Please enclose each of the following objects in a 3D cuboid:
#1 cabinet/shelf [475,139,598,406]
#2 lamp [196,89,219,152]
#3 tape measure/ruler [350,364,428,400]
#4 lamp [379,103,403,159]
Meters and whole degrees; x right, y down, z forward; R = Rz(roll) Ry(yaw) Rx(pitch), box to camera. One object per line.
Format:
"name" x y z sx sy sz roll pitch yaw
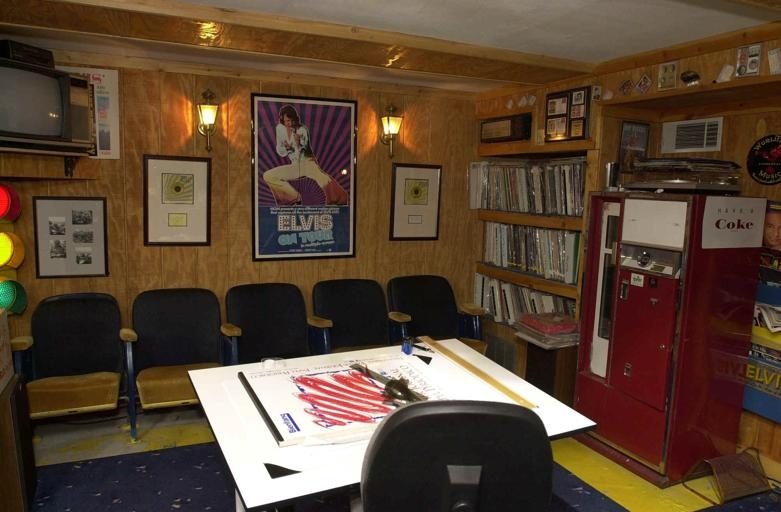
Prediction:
"cabinet/shelf" 1.503 0.068 5.276 0.631 2.225 1.621 0 7 -22
"lamp" -1.732 -1.308 4.854 0.214 0.590 0.142 -5 8 -20
"tape measure/ruler" -0.049 0.840 3.400 0.162 0.124 0.526 -11 11 -42
"lamp" 0.033 -1.346 5.457 0.261 0.550 0.176 -3 8 -9
